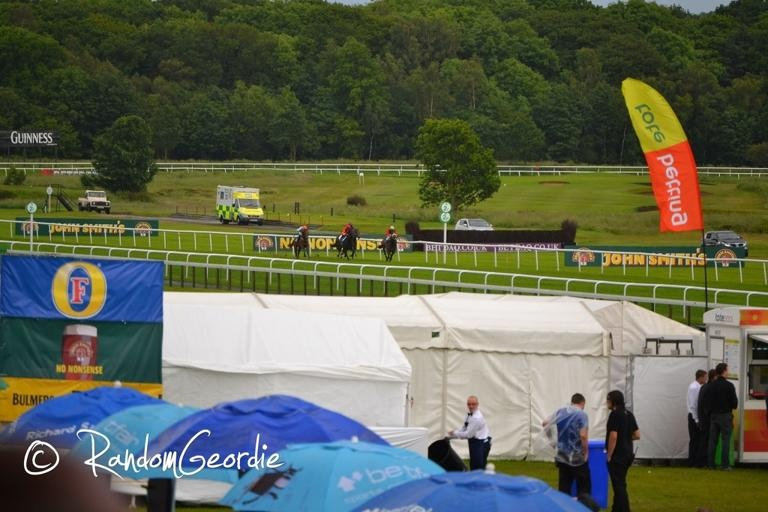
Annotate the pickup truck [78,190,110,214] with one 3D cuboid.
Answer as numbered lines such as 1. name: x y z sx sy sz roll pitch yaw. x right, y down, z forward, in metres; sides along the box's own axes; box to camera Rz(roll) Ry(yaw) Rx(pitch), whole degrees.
1. pickup truck: -37.782 -7.156 225.200 4.167 2.971 2.839 -2 1 2
